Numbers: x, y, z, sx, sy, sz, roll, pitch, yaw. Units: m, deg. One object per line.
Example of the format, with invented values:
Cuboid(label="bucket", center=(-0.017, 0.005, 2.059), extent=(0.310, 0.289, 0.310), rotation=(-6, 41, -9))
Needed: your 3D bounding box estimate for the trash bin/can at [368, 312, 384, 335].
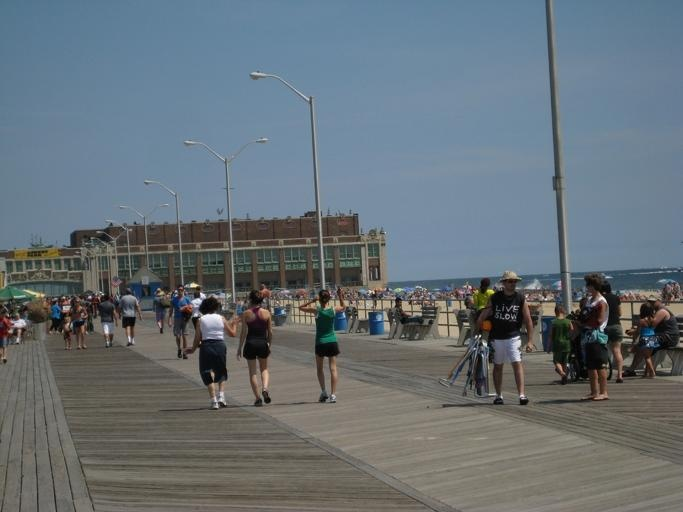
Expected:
Cuboid(label="trash bin/can", center=(1.099, 2.167, 35.270), extent=(0.581, 0.899, 0.616), rotation=(-1, -5, -6))

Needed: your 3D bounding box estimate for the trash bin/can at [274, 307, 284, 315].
Cuboid(label="trash bin/can", center=(-2.475, 2.269, 44.632), extent=(0.294, 0.227, 0.301), rotation=(1, -4, -12))

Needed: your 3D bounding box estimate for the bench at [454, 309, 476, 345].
Cuboid(label="bench", center=(3.410, 1.900, 29.668), extent=(0.708, 0.846, 1.259), rotation=(1, 2, -10))

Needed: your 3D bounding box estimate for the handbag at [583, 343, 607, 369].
Cuboid(label="handbag", center=(4.353, 1.727, 19.017), extent=(0.402, 0.442, 0.408), rotation=(-3, -2, 27))
